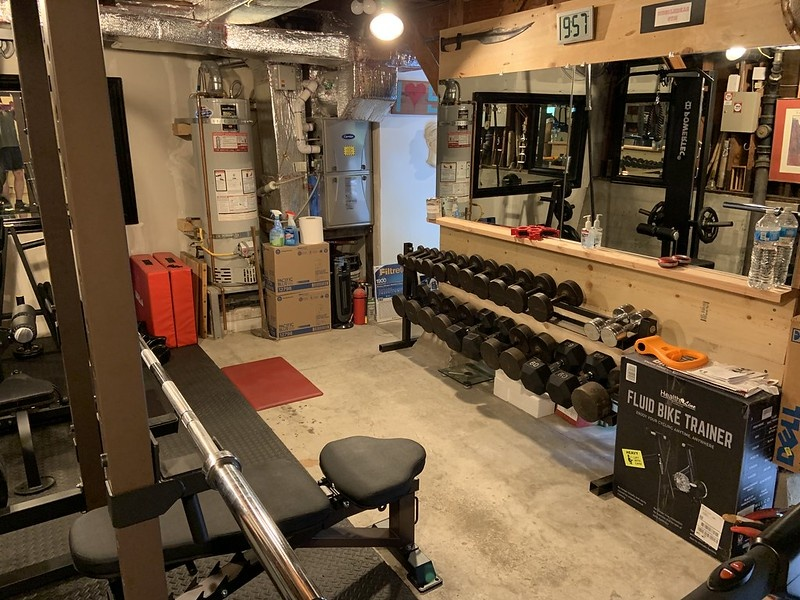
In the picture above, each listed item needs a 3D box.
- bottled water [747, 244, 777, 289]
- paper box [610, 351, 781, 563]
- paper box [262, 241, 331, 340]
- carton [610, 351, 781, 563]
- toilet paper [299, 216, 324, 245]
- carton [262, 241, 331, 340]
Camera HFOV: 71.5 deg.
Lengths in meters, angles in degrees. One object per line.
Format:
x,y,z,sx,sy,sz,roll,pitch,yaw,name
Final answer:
2.000,-0.181,3.059,0.120,0.248,0.073,11,21,34,bottled water
1.615,0.840,2.998,0.346,0.923,1.048,-4,7,-30,paper box
-1.122,-0.117,5.889,0.851,1.186,0.403,-7,19,-27,paper box
1.615,0.840,2.998,0.346,0.923,1.048,-4,7,-30,carton
-0.911,-0.744,5.923,0.286,0.323,0.291,1,7,0,toilet paper
-1.122,-0.117,5.889,0.851,1.186,0.403,-7,19,-27,carton
